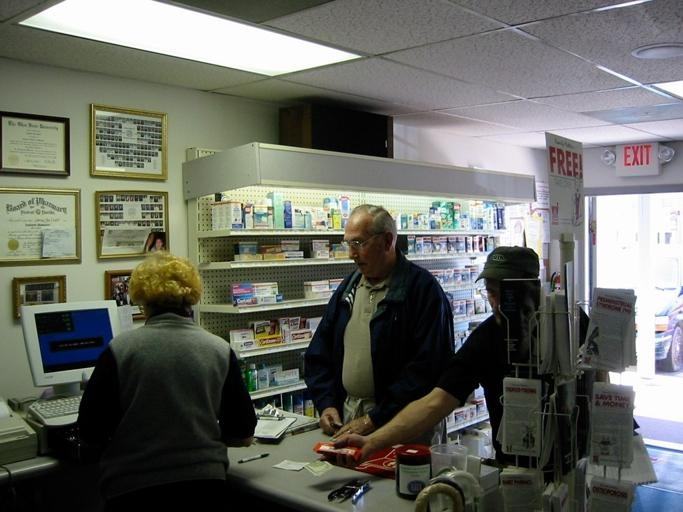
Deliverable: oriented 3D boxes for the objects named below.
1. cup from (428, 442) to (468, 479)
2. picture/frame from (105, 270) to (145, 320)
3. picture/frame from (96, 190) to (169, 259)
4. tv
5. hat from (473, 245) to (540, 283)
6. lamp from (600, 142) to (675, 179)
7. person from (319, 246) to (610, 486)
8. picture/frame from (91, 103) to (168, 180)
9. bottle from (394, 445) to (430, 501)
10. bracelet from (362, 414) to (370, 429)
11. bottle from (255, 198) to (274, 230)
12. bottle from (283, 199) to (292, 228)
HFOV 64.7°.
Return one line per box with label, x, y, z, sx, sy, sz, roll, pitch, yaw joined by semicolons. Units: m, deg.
cup;0.389;0.752;1.987;0.110;0.138;0.137;-1;-6;9
picture/frame;-1.628;0.305;4.072;0.031;0.394;0.393;-10;-10;17
picture/frame;-1.582;-0.221;3.996;0.452;0.456;0.033;-15;10;-38
tv;-1.544;0.574;3.128;0.529;0.573;0.292;0;-22;-42
hat;0.738;0.041;2.392;0.342;0.169;0.244;1;-2;-40
lamp;4.034;-1.293;7.359;0.874;0.463;0.321;1;6;30
person;0.615;0.465;2.354;0.337;0.968;1.234;-14;-41;36
picture/frame;-1.618;-0.849;4.037;0.629;0.583;0.051;0;-1;-40
bottle;0.305;0.903;2.213;0.167;0.185;0.167;0;-11;-12
bracelet;0.118;0.820;2.610;0.041;0.015;0.046;35;16;1
bottle;-0.579;-0.310;4.070;0.108;0.235;0.205;0;5;17
bottle;-0.417;-0.309;4.214;0.073;0.215;0.123;-2;5;-6
